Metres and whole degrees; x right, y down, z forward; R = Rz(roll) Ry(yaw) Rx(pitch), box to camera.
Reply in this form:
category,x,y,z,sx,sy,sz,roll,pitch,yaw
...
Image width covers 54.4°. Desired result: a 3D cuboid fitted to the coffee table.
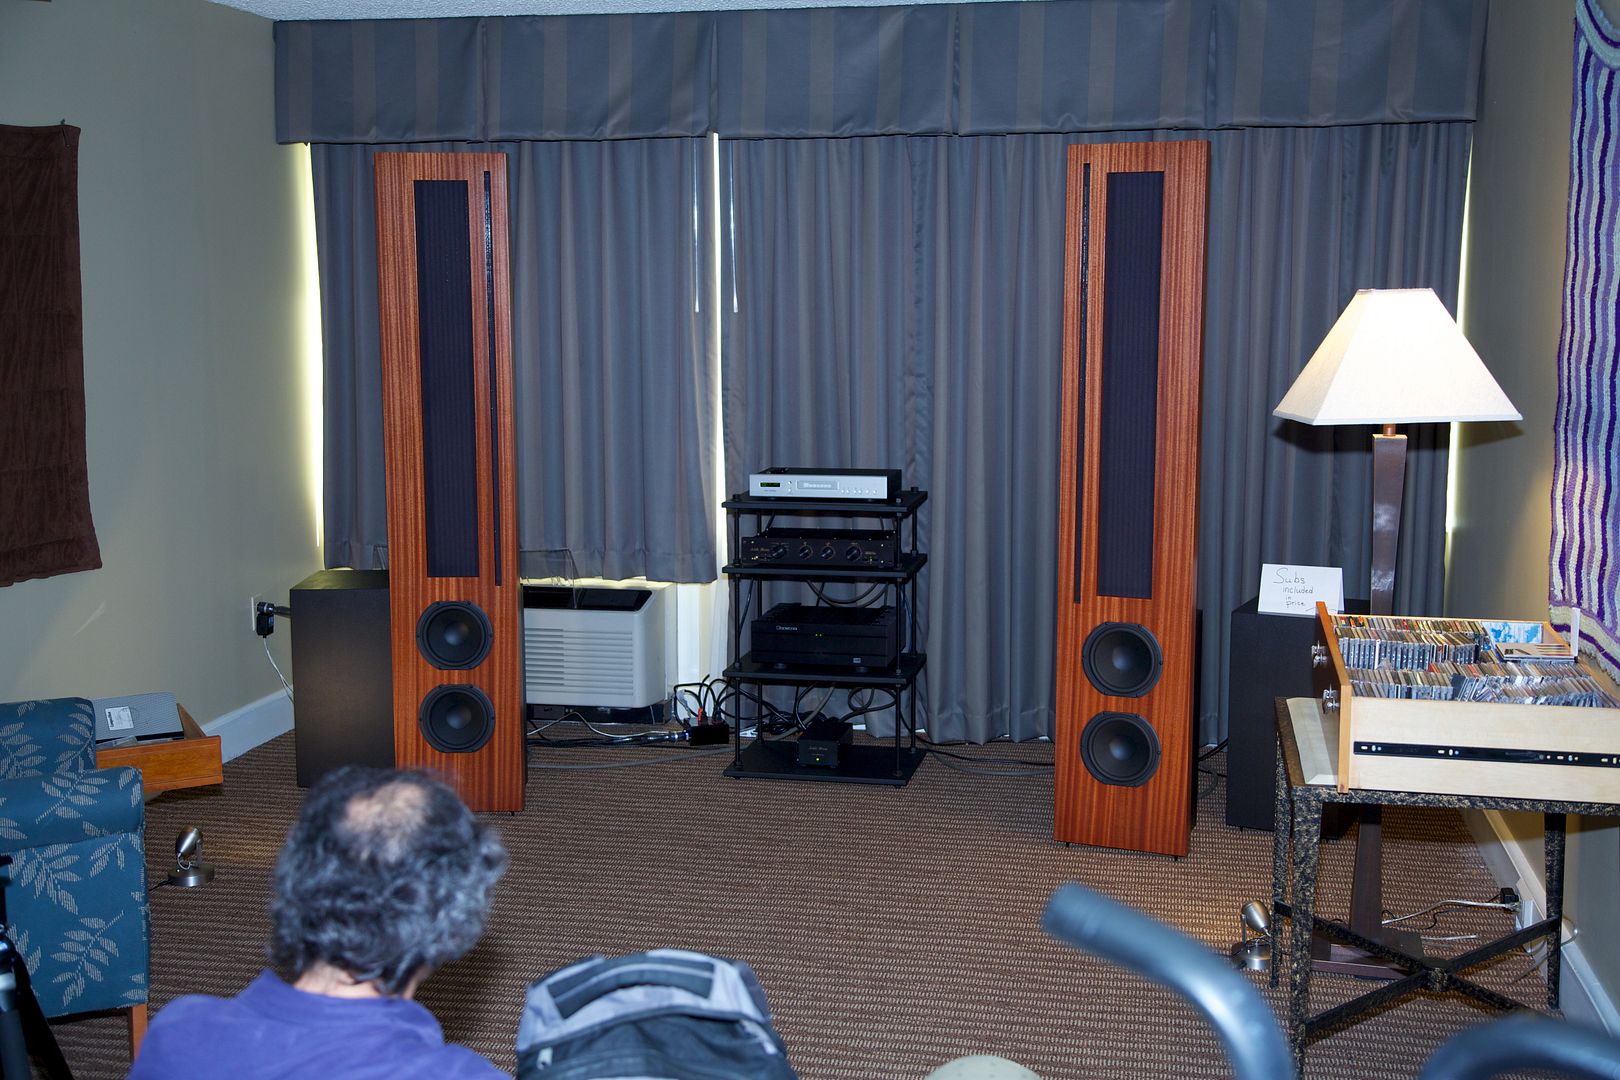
category,x,y,z,sx,sy,sz,roll,pitch,yaw
coffee table,1.866,1.031,4.871,1.029,1.056,1.068,0,11,6

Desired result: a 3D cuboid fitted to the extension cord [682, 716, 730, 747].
category,x,y,z,sx,sy,sz,roll,pitch,yaw
extension cord,-0.429,0.829,6.692,0.177,0.094,0.074,1,3,-16

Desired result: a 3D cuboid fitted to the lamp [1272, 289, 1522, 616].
category,x,y,z,sx,sy,sz,roll,pitch,yaw
lamp,1.741,-0.265,4.751,0.552,1.000,0.437,1,4,-11

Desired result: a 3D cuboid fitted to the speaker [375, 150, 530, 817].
category,x,y,z,sx,sy,sz,roll,pitch,yaw
speaker,-1.328,-0.186,5.881,0.543,2.455,0.183,2,4,8

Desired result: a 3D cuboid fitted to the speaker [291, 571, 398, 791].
category,x,y,z,sx,sy,sz,roll,pitch,yaw
speaker,-1.880,0.616,6.321,0.447,0.737,0.450,7,-21,-39

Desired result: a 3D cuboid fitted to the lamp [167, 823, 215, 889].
category,x,y,z,sx,sy,sz,roll,pitch,yaw
lamp,-2.147,1.119,5.499,0.168,0.196,0.178,8,10,15

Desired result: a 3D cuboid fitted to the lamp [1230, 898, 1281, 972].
category,x,y,z,sx,sy,sz,roll,pitch,yaw
lamp,1.394,1.239,4.975,0.127,0.200,0.128,-6,7,-17
